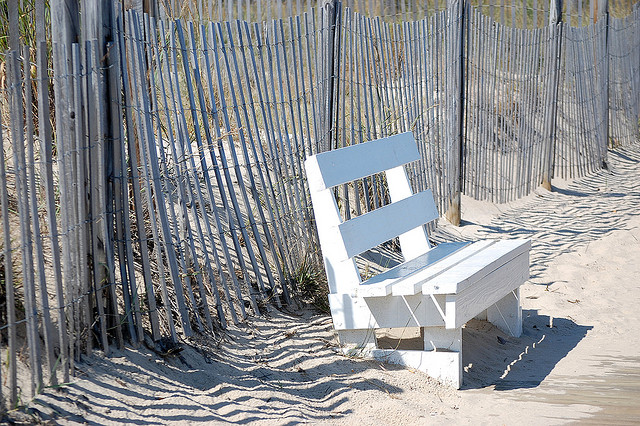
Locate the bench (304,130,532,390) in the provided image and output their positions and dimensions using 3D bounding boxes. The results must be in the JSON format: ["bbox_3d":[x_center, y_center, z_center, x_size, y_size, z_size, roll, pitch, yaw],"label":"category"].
[{"bbox_3d":[0.898,0.321,8.514,1.339,1.884,1.856,1,10,29],"label":"bench"}]
